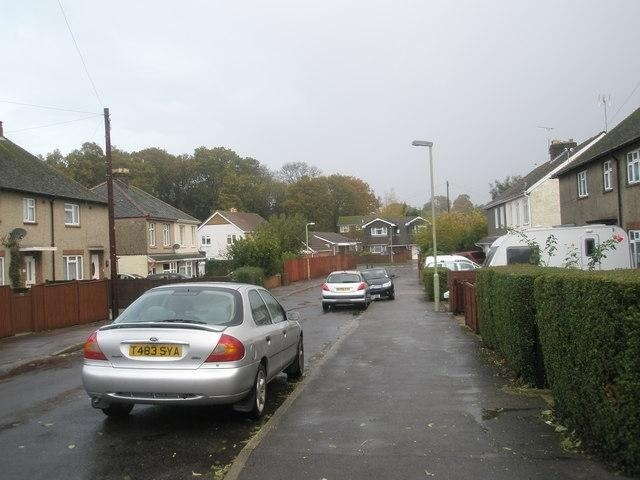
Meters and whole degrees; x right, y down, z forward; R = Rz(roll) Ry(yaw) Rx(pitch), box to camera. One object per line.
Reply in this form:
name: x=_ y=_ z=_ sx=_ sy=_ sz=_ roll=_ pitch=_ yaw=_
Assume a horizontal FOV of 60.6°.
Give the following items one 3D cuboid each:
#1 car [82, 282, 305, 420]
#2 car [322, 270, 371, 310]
car: x=-1.689 y=1.567 z=7.816 sx=3.128 sy=1.891 sz=1.944 roll=-1 pitch=-3 yaw=-27
car: x=1.296 y=2.142 z=24.358 sx=1.089 sy=1.145 sz=2.550 roll=-1 pitch=4 yaw=8
